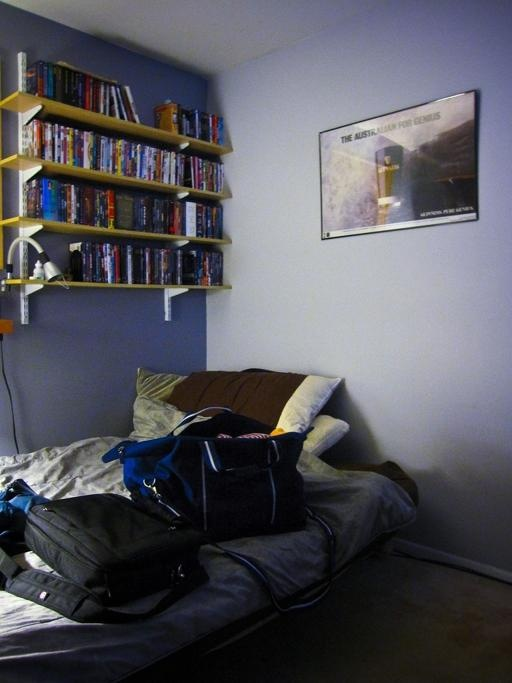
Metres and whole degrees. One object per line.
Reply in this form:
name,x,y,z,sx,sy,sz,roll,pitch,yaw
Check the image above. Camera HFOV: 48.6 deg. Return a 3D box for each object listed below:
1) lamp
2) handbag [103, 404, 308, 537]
lamp,-0.886,-0.340,2.381,0.232,0.212,0.378,-2,4,-44
handbag,-0.130,0.318,1.546,0.396,0.170,0.369,3,-6,-34
